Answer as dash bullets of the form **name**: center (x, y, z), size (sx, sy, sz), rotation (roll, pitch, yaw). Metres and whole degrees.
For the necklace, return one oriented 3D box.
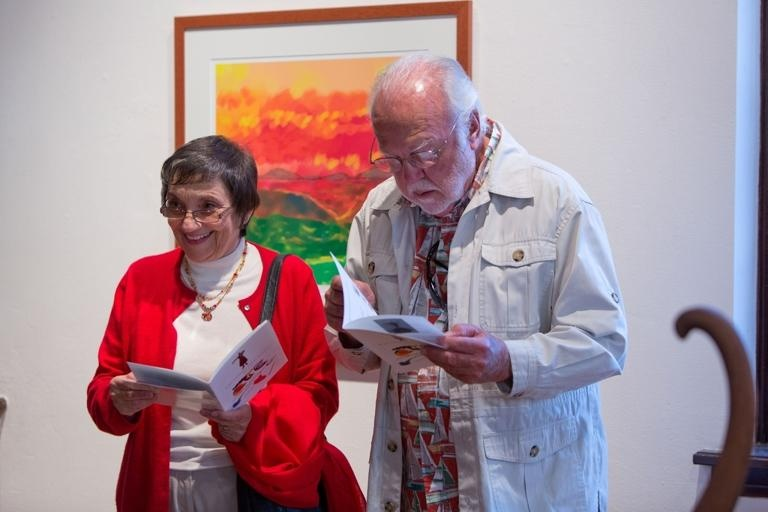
- **necklace**: center (-0.651, 0.105, 2.794), size (0.156, 0.288, 0.059), rotation (0, -15, 6)

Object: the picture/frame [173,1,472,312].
- **picture/frame**: center (-0.213, -0.386, 2.970), size (1.223, 1.521, 0.053), rotation (0, 1, 6)

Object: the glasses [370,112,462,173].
- **glasses**: center (0.137, -0.385, 2.498), size (0.280, 0.195, 0.082), rotation (-1, 4, 6)

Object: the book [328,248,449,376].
- **book**: center (0.018, 0.225, 2.353), size (0.273, 0.160, 0.420), rotation (-2, -32, 47)
